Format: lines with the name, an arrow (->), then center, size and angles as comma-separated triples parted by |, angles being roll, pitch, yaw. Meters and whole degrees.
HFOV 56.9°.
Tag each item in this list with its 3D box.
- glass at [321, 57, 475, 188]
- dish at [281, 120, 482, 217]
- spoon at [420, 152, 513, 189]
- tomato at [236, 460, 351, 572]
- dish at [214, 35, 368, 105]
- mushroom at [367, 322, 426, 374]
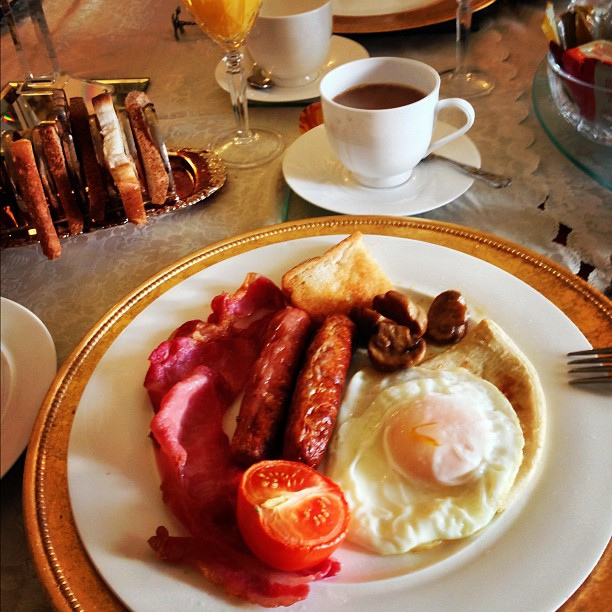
glass -> 0.140, -0.334, 1.015 | 0.238, 0.174, 0.208 | -27, 52, -22
dish -> 0.125, -0.238, 1.149 | 0.499, 0.192, 0.341 | -2, 29, 2
spoon -> 0.289, -0.244, 1.036 | 0.166, 0.016, 0.052 | 22, 62, 30
tomato -> -0.012, 0.202, 0.554 | 0.111, 0.057, 0.093 | 12, 38, -16
dish -> -0.030, -0.533, 1.348 | 0.321, 0.045, 0.263 | -3, 42, 0
mushroom -> 0.110, 0.053, 0.708 | 0.073, 0.022, 0.060 | 17, 73, 6
